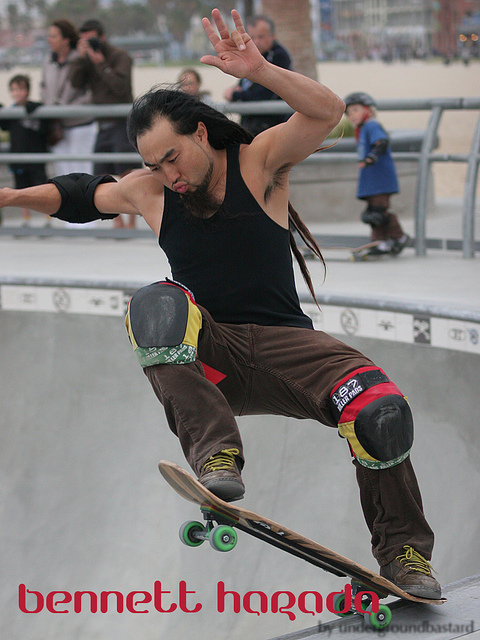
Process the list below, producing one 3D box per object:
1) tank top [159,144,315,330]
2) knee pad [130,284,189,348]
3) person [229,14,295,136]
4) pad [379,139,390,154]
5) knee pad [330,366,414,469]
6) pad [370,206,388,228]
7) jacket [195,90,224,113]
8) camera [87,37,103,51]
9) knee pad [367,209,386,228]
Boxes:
[{"bbox_3d":[-0.015,-0.330,4.289,0.610,0.852,0.465,-6,-10,-13],"label":"tank top"},{"bbox_3d":[-0.282,-0.013,3.862,0.164,0.230,0.074,-4,-15,7],"label":"knee pad"},{"bbox_3d":[0.064,-1.840,8.022,0.501,0.352,0.903,23,40,0],"label":"person"},{"bbox_3d":[0.904,-1.083,6.914,0.063,0.070,0.116,2,10,0],"label":"pad"},{"bbox_3d":[0.455,0.341,3.784,0.275,0.337,0.161,-4,18,4],"label":"knee pad"},{"bbox_3d":[0.897,-0.665,7.106,0.042,0.126,0.090,-12,33,54],"label":"pad"},{"bbox_3d":[-0.109,-0.812,4.099,0.101,0.080,0.216,-5,18,0],"label":"jacket"},{"bbox_3d":[-0.884,-1.704,6.768,0.042,0.066,0.168,-17,33,-6],"label":"camera"},{"bbox_3d":[0.888,-0.660,7.092,0.091,0.045,0.122,5,-12,8],"label":"knee pad"}]
